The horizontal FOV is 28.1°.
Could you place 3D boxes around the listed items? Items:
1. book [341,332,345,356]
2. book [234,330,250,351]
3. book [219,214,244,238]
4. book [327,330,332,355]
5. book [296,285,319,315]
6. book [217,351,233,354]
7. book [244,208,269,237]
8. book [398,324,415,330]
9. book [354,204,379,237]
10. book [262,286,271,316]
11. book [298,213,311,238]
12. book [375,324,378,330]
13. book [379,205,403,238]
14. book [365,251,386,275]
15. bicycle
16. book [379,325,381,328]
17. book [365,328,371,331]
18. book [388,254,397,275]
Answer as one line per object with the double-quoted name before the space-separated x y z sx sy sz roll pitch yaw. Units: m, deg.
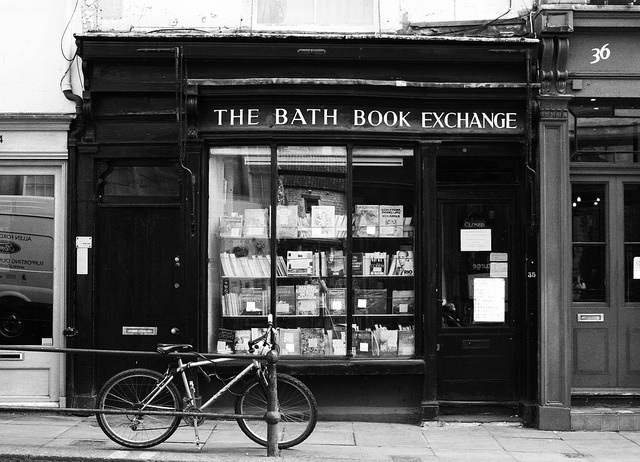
"book" 0.331 1.637 18.610 0.093 0.327 0.059 -2 -6 3
"book" -1.137 1.597 18.574 0.330 0.399 0.045 0 -5 3
"book" -1.321 -0.092 18.731 0.369 0.323 0.182 1 1 -1
"book" 0.147 1.613 18.644 0.077 0.346 0.028 -2 -6 2
"book" -0.198 1.017 18.717 0.475 0.564 0.076 0 -2 1
"book" -1.383 1.735 18.349 0.102 0.024 0.104 1 -2 16
"book" -0.918 -0.091 18.905 0.517 0.461 0.368 1 -1 2
"book" 1.269 1.404 18.677 0.251 0.092 0.046 -4 -6 22
"book" 0.668 -0.171 18.789 0.522 0.586 0.065 0 -1 -3
"book" -0.794 1.015 18.676 0.116 0.435 0.047 -2 -6 2
"book" -0.235 -0.072 18.743 0.104 0.307 0.242 4 2 -1
"book" 0.822 1.402 18.712 0.085 0.076 0.020 -5 -2 -1
"book" 1.059 -0.160 18.788 0.514 0.612 0.070 2 1 -2
"book" 0.783 0.439 18.884 0.410 0.378 0.300 -2 7 -5
"bicycle" -1.541 2.183 17.686 2.929 1.444 1.452 -1 -4 -2
"book" 0.876 1.394 18.716 0.054 0.046 0.012 -2 -6 3
"book" 0.714 1.445 18.706 0.091 0.056 0.012 -1 -6 -9
"book" 1.074 0.505 18.773 0.056 0.208 0.219 10 -4 -1
